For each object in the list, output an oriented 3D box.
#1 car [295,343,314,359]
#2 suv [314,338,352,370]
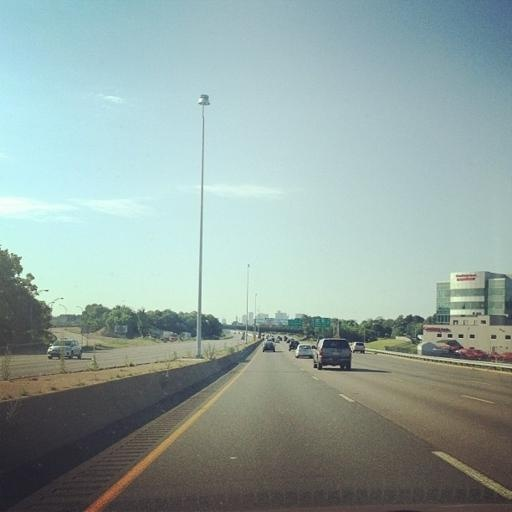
[{"bbox_3d":[4.279,8.364,51.071,1.369,1.330,2.675,-1,-11,11],"label":"car"},{"bbox_3d":[4.231,5.397,31.719,1.786,1.718,2.419,0,-10,2],"label":"suv"}]
